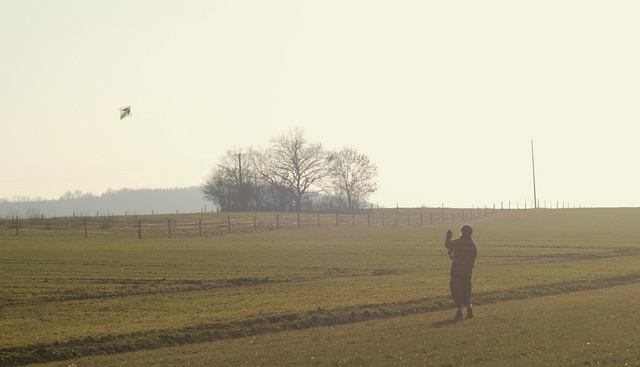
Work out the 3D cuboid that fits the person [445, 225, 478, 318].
[{"bbox_3d":[6.107,3.814,29.735,1.208,3.950,0.899,0,6,9],"label":"person"}]
